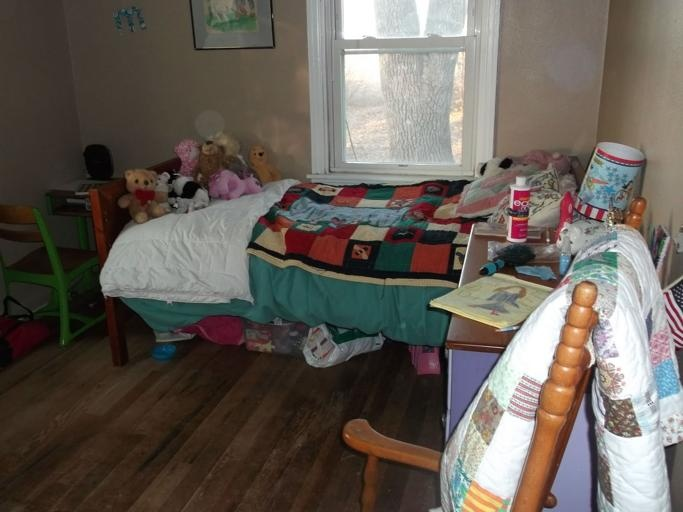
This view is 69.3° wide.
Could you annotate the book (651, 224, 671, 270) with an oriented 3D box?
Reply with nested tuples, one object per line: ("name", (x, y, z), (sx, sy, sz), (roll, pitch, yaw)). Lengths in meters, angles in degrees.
("book", (0.986, -0.024, 1.521), (0.013, 0.074, 0.132), (2, 36, 18))

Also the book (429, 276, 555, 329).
("book", (0.429, 0.119, 1.399), (0.180, 0.023, 0.189), (16, 33, 38))

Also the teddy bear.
("teddy bear", (-0.804, -0.374, 3.052), (0.818, 0.382, 0.589), (-5, 30, 7))

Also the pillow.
("pillow", (0.793, -0.285, 2.344), (0.447, 0.141, 0.464), (-2, 23, 30))
